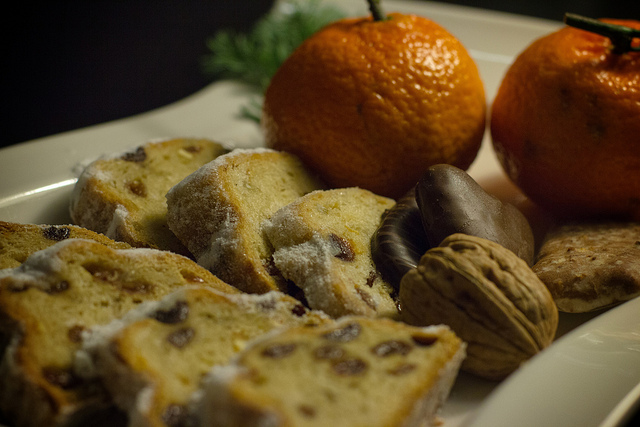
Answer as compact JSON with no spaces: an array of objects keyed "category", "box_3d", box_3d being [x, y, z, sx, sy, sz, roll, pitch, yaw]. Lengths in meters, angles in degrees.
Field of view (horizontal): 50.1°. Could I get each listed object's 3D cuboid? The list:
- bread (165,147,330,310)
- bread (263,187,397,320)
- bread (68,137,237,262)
[{"category":"bread","box_3d":[-0.210,-0.003,1.851,0.420,0.116,0.434,52,28,8]},{"category":"bread","box_3d":[0.053,0.039,1.864,0.088,0.377,0.390,-8,48,44]},{"category":"bread","box_3d":[-0.511,-0.102,2.056,0.391,0.103,0.382,35,33,19]}]
